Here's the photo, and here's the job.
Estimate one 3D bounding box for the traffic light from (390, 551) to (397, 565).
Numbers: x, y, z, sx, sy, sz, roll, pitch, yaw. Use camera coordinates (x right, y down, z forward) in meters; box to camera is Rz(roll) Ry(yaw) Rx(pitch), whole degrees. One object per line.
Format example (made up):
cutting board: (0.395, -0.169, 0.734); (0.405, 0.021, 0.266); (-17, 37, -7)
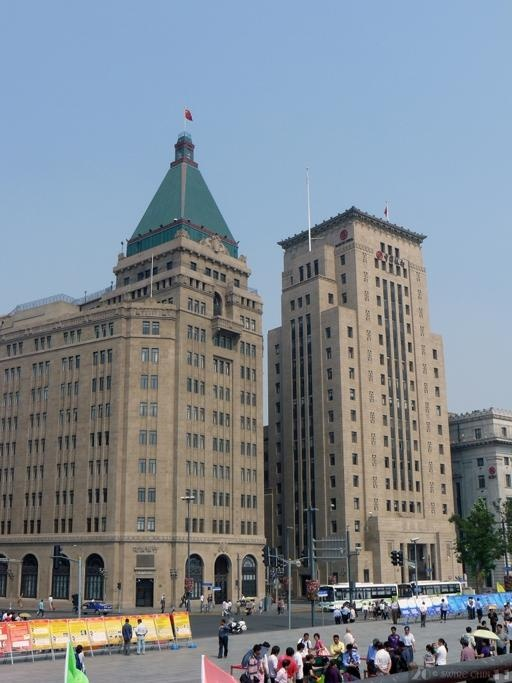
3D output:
traffic light: (11.289, 17.634, 67.866); (0.482, 1.007, 1.058); (-7, -17, 13)
